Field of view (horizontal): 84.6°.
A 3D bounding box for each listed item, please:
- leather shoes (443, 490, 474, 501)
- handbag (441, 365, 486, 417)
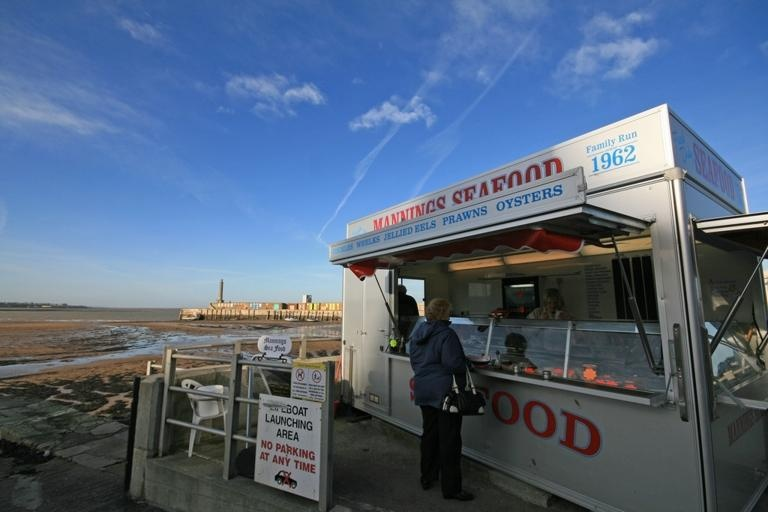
[{"bbox_3d":[0.929,2.938,5.214,0.357,0.142,0.128,-3,-3,3],"label":"leather shoes"},{"bbox_3d":[0.983,1.704,5.180,0.500,0.468,0.256,-2,-5,-33],"label":"handbag"}]
